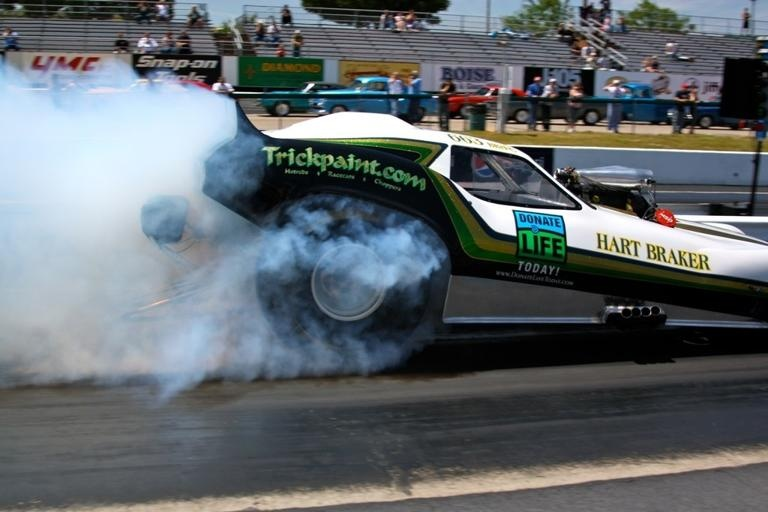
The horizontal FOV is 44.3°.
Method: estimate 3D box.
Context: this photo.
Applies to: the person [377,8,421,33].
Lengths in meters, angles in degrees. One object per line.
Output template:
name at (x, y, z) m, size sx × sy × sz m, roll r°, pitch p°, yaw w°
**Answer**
person at (0.476, -7.406, 30.040) m, size 1.093 × 0.449 × 0.920 m, roll 2°, pitch 22°, yaw 2°
